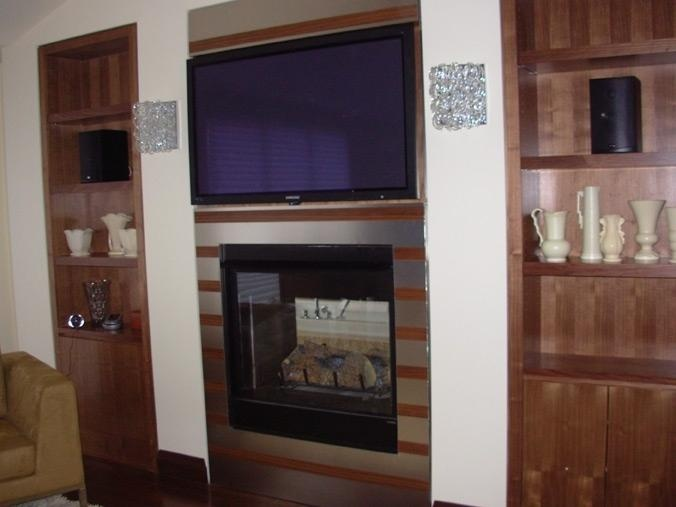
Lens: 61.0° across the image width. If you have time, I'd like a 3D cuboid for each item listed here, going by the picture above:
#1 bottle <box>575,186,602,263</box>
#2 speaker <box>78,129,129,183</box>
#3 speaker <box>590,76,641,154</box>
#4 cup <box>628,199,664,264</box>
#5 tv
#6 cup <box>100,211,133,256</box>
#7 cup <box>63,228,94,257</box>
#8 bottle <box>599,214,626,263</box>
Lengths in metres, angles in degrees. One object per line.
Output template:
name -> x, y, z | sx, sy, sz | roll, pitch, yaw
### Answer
bottle -> 1.281, -0.148, 2.908 | 0.092, 0.387, 0.153 | -1, 2, 26
speaker -> -1.610, -0.667, 3.949 | 0.311, 0.358, 0.139 | -3, 2, -25
speaker -> 1.372, -0.687, 2.853 | 0.211, 0.377, 0.068 | -1, 2, 14
cup -> 1.544, -0.113, 2.860 | 0.151, 0.313, 0.145 | -2, 2, 0
tv -> -0.155, -0.802, 3.215 | 1.124, 0.691, 0.060 | 0, 1, 19
cup -> -1.519, -0.137, 3.902 | 0.268, 0.285, 0.265 | 1, 9, 0
cup -> -1.807, -0.082, 3.985 | 0.194, 0.159, 0.197 | 1, 6, 0
bottle -> 1.382, -0.074, 2.900 | 0.107, 0.236, 0.174 | -1, 2, 25
